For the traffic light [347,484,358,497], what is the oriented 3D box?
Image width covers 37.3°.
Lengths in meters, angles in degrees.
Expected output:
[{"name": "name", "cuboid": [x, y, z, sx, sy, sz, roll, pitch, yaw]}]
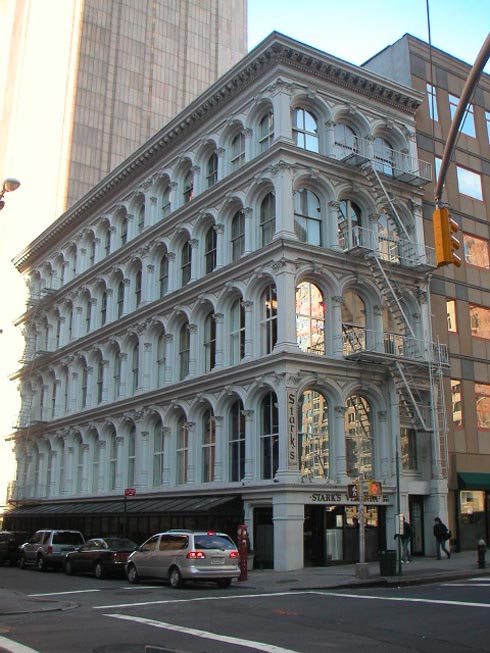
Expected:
[{"name": "traffic light", "cuboid": [2.943, 4.485, 19.790, 0.200, 0.387, 0.389, -14, -23, 31]}]

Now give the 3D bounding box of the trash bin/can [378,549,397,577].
[{"name": "trash bin/can", "cuboid": [3.837, 6.367, 19.468, 0.465, 0.672, 0.538, -4, -20, 8]}]

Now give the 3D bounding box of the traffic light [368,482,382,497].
[{"name": "traffic light", "cuboid": [3.566, 4.461, 19.926, 0.323, 0.439, 0.745, -4, -19, 7]}]

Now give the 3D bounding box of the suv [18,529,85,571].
[{"name": "suv", "cuboid": [-7.806, 9.046, 29.431, 1.714, 1.478, 3.460, 12, -21, -32]}]

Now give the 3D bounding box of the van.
[{"name": "van", "cuboid": [-1.704, 6.181, 19.619, 1.601, 1.164, 3.092, 16, -21, -35]}]

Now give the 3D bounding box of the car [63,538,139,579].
[{"name": "car", "cuboid": [-4.705, 7.694, 24.232, 1.289, 0.920, 2.938, 10, -18, -33]}]
